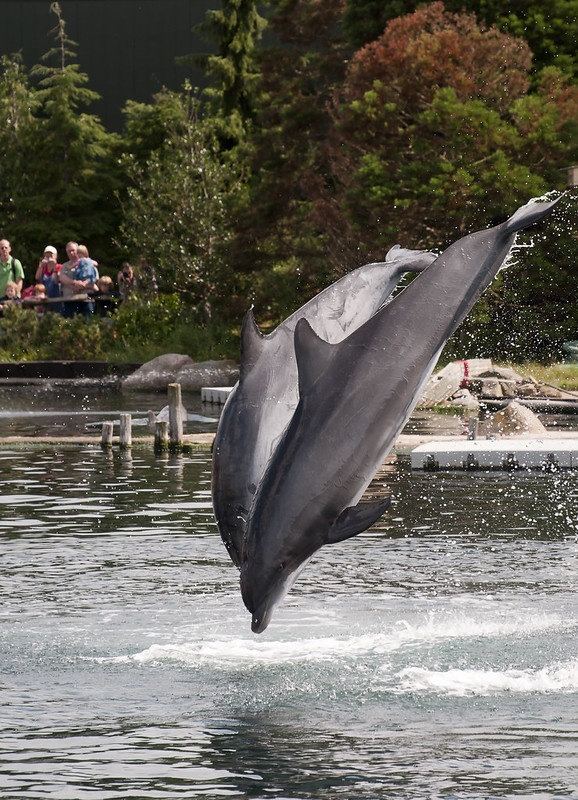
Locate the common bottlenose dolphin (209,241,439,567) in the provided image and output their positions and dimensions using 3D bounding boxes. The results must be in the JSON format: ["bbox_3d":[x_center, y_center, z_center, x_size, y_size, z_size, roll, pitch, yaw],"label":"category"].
[{"bbox_3d":[0.088,0.006,12.417,0.865,2.410,0.895,22,-10,0],"label":"common bottlenose dolphin"}]

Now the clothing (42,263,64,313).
[{"bbox_3d":[-5.300,-2.574,46.750,0.518,1.132,0.265,-6,3,42],"label":"clothing"}]

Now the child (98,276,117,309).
[{"bbox_3d":[-4.264,-2.492,48.796,0.337,1.171,0.499,-3,-6,-3],"label":"child"}]

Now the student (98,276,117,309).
[{"bbox_3d":[-4.268,-2.655,48.748,0.337,1.171,0.499,-3,-6,-3],"label":"student"}]

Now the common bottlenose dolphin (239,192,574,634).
[{"bbox_3d":[0.415,0.225,12.158,1.320,1.137,3.896,-12,22,6],"label":"common bottlenose dolphin"}]

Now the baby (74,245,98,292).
[{"bbox_3d":[-4.410,-2.885,45.228,0.518,1.022,1.422,-1,6,-6],"label":"baby"}]
